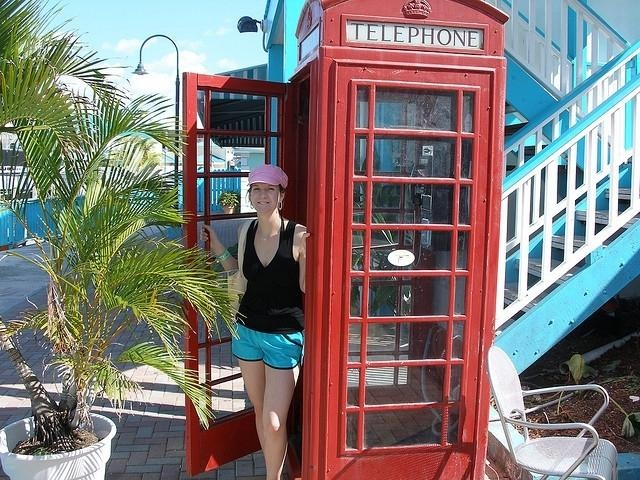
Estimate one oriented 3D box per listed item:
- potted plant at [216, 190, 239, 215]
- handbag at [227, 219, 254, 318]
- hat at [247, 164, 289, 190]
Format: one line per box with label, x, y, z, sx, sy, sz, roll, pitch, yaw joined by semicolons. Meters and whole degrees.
potted plant;-0.666;-0.284;4.674;0.148;0.171;0.153;-7;16;-35
handbag;-0.561;0.202;4.343;0.151;0.674;0.160;-6;17;-39
hat;-0.347;-0.423;4.241;0.245;0.152;0.161;2;3;-5
